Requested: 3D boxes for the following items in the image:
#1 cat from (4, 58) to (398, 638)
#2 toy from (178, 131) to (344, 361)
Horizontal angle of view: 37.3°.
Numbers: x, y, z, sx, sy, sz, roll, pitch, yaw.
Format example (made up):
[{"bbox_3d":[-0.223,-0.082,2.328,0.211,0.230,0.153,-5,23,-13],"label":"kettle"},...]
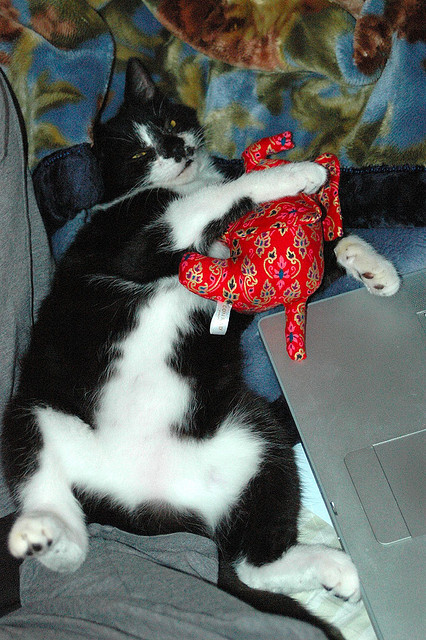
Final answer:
[{"bbox_3d":[-0.076,0.043,1.774,0.950,0.445,1.293,6,77,1],"label":"cat"},{"bbox_3d":[0.123,-0.138,1.281,0.411,0.161,0.475,2,84,4],"label":"toy"}]
